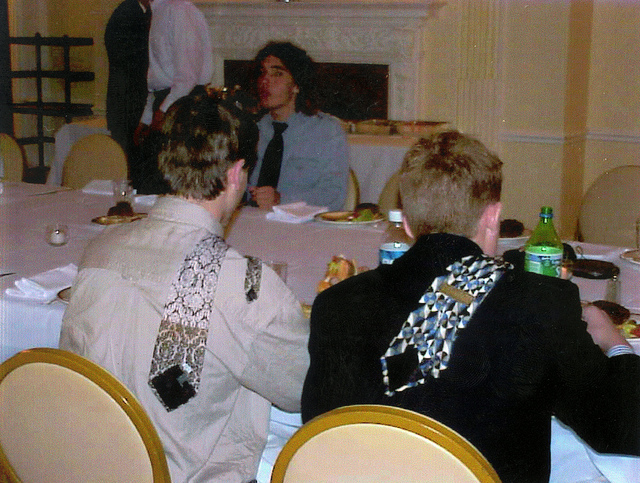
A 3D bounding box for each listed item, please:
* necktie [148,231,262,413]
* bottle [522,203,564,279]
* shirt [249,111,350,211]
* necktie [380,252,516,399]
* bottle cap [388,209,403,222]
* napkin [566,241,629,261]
[{"bbox_3d":[-0.277,0.179,1.495,0.187,0.393,0.078,11,6,12],"label":"necktie"},{"bbox_3d":[0.609,0.017,1.819,0.084,0.244,0.085,-5,20,2],"label":"bottle"},{"bbox_3d":[-0.105,-0.456,4.024,0.612,0.675,0.376,4,-7,32],"label":"shirt"},{"bbox_3d":[0.232,0.197,1.312,0.134,0.126,0.381,20,58,31],"label":"necktie"},{"bbox_3d":[0.211,-0.069,1.878,0.032,0.034,0.046,6,10,1],"label":"bottle cap"},{"bbox_3d":[0.977,0.038,2.367,0.195,0.040,0.246,10,11,19],"label":"napkin"}]
